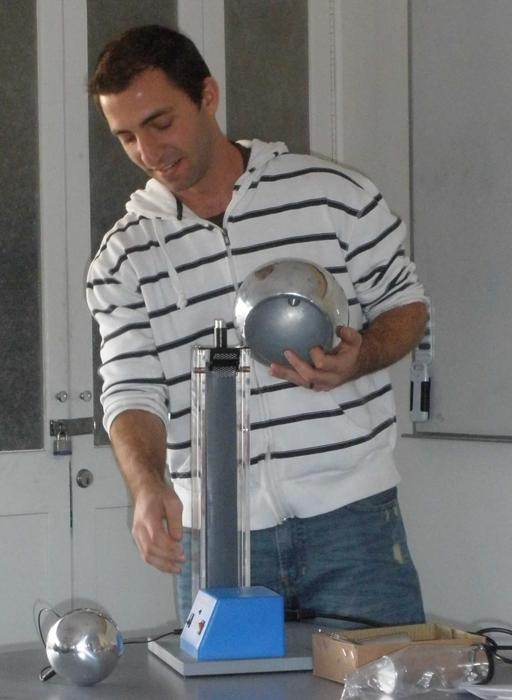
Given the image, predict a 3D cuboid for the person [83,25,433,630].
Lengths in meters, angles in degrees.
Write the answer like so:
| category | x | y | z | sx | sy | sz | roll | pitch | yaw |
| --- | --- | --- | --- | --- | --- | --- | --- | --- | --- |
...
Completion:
| category | x | y | z | sx | sy | sz | roll | pitch | yaw |
| --- | --- | --- | --- | --- | --- | --- | --- | --- | --- |
| person | 0.030 | -0.054 | 1.497 | 0.552 | 0.942 | 0.552 | -5 | -1 | -11 |
